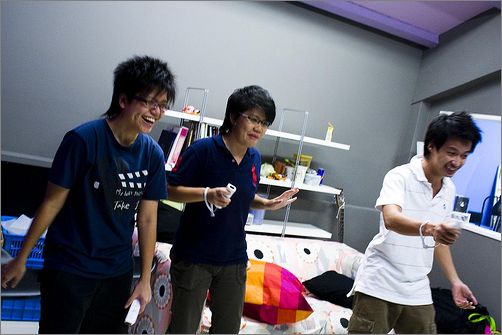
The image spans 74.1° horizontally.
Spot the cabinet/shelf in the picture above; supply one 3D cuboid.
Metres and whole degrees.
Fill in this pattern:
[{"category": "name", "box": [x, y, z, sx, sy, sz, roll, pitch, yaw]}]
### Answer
[{"category": "cabinet/shelf", "box": [0.114, -0.025, 3.649, 1.581, 1.354, 0.391, 7, 8, 1]}]
